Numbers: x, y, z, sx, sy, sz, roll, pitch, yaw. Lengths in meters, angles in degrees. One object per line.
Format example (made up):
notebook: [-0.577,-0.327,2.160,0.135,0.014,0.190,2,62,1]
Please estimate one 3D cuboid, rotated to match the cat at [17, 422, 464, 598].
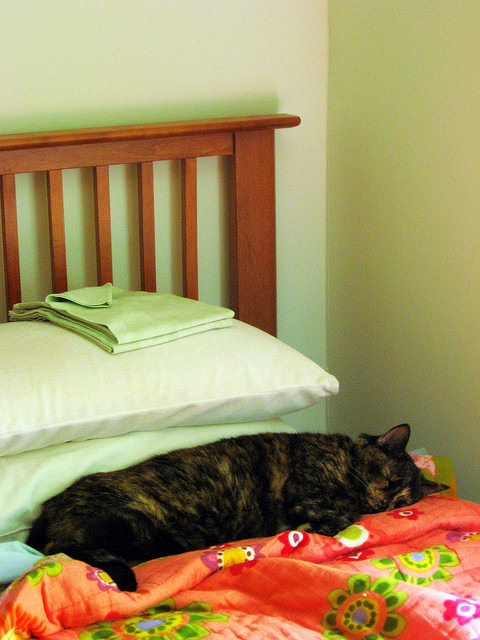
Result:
cat: [-0.019,0.285,0.918,0.432,0.082,0.172,-7,10,-22]
